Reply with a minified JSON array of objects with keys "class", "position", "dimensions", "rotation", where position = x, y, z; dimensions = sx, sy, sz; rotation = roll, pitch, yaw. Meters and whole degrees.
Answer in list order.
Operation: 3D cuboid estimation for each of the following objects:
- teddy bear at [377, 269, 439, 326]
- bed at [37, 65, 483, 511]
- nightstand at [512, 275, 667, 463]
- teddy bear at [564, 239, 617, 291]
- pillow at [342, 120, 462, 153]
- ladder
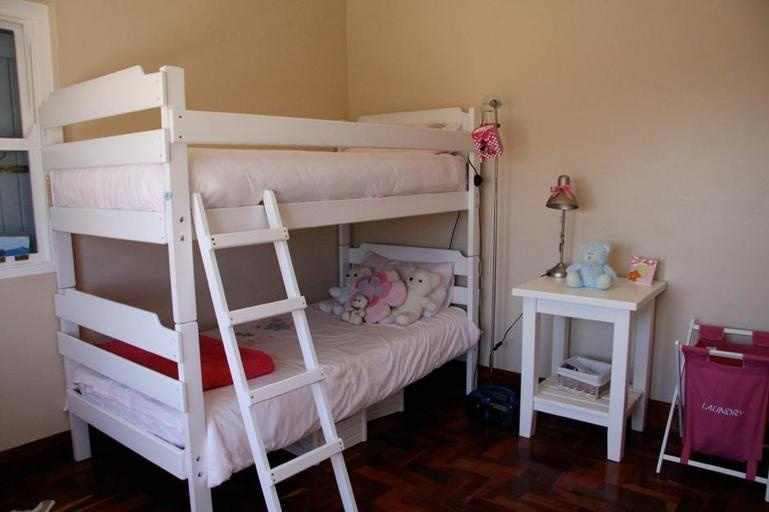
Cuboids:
[{"class":"teddy bear","position":[0.234,0.287,4.285],"dimensions":[0.412,0.416,0.375],"rotation":[23,12,41]},{"class":"bed","position":[-0.631,0.039,4.196],"dimensions":[2.170,2.634,3.098],"rotation":[6,10,40]},{"class":"nightstand","position":[1.311,0.659,3.850],"dimensions":[0.828,0.971,0.725],"rotation":[5,15,28]},{"class":"teddy bear","position":[1.349,0.067,3.831],"dimensions":[0.300,0.289,0.256],"rotation":[6,12,40]},{"class":"pillow","position":[0.190,-0.906,4.300],"dimensions":[0.609,0.103,0.397],"rotation":[0,44,10]},{"class":"ladder","position":[-0.533,0.525,3.010],"dimensions":[0.713,1.707,0.639],"rotation":[-6,14,-16]}]
